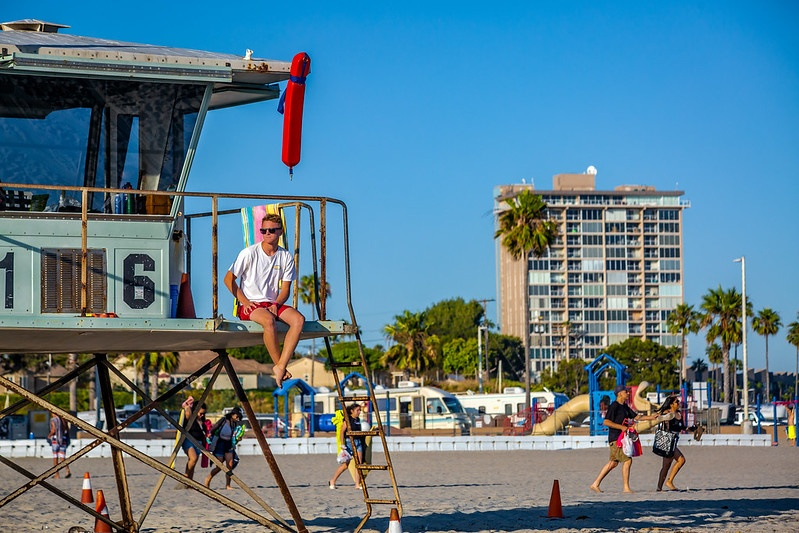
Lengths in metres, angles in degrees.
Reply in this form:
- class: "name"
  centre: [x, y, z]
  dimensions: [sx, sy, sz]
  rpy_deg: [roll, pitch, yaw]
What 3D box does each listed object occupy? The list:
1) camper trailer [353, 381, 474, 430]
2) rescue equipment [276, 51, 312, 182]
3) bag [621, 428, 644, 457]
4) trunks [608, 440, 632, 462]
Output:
- class: "camper trailer"
  centre: [1.326, 8.675, 117.708]
  dimensions: [7.582, 3.945, 3.033]
  rpy_deg: [-3, -1, 30]
- class: "rescue equipment"
  centre: [-3.990, -5.793, 77.184]
  dimensions: [0.972, 4.567, 0.524]
  rpy_deg: [2, -2, -3]
- class: "bag"
  centre: [9.409, 7.223, 83.425]
  dimensions: [0.888, 1.154, 0.401]
  rpy_deg: [4, -2, -43]
- class: "trunks"
  centre: [8.873, 7.581, 83.629]
  dimensions: [0.653, 1.022, 1.121]
  rpy_deg: [-6, 10, -33]
